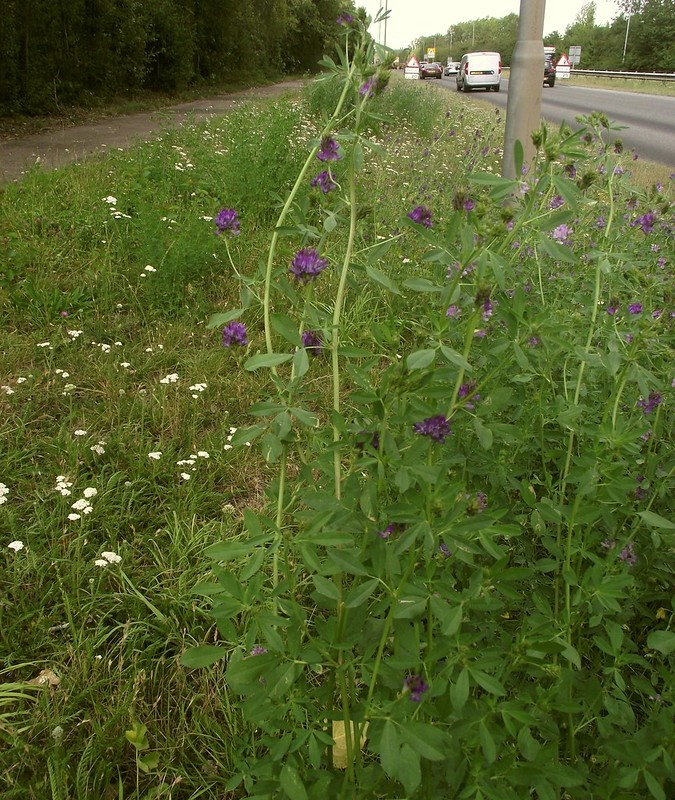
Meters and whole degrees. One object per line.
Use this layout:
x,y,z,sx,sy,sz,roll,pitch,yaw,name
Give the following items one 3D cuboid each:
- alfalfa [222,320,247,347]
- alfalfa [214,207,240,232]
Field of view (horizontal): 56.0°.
-0.215,-0.145,1.379,0.056,0.061,0.056,1,-1,-3,alfalfa
-0.255,-0.416,1.472,0.052,0.068,0.163,-2,22,-10,alfalfa
